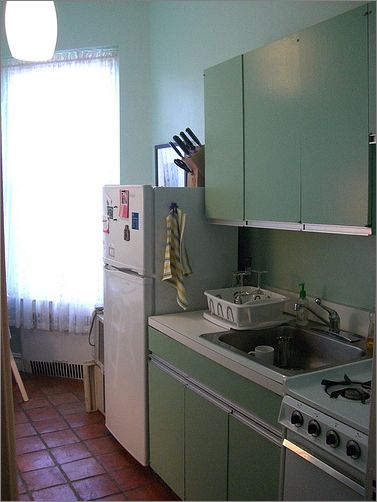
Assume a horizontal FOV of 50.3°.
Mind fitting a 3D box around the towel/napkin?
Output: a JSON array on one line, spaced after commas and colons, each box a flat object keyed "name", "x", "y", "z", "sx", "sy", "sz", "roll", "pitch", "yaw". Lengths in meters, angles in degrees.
[{"name": "towel/napkin", "x": -0.059, "y": 0.022, "z": 2.111, "sx": 0.146, "sy": 0.545, "sz": 0.121, "roll": 0, "pitch": 3, "yaw": -3}]

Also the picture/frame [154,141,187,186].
[{"name": "picture/frame", "x": -0.127, "y": -0.638, "z": 2.940, "sx": 0.040, "sy": 0.462, "sz": 0.342, "roll": -4, "pitch": 10, "yaw": -24}]

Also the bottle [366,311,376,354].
[{"name": "bottle", "x": 0.706, "y": 0.310, "z": 1.551, "sx": 0.024, "sy": 0.125, "sz": 0.227, "roll": 1, "pitch": 4, "yaw": 24}]

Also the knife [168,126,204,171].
[{"name": "knife", "x": 0.000, "y": -0.520, "z": 2.358, "sx": 0.084, "sy": 0.336, "sz": 0.173, "roll": -34, "pitch": 60, "yaw": -18}]

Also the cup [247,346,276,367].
[{"name": "cup", "x": 0.294, "y": 0.407, "z": 1.597, "sx": 0.111, "sy": 0.093, "sz": 0.076, "roll": -4, "pitch": 16, "yaw": -3}]
